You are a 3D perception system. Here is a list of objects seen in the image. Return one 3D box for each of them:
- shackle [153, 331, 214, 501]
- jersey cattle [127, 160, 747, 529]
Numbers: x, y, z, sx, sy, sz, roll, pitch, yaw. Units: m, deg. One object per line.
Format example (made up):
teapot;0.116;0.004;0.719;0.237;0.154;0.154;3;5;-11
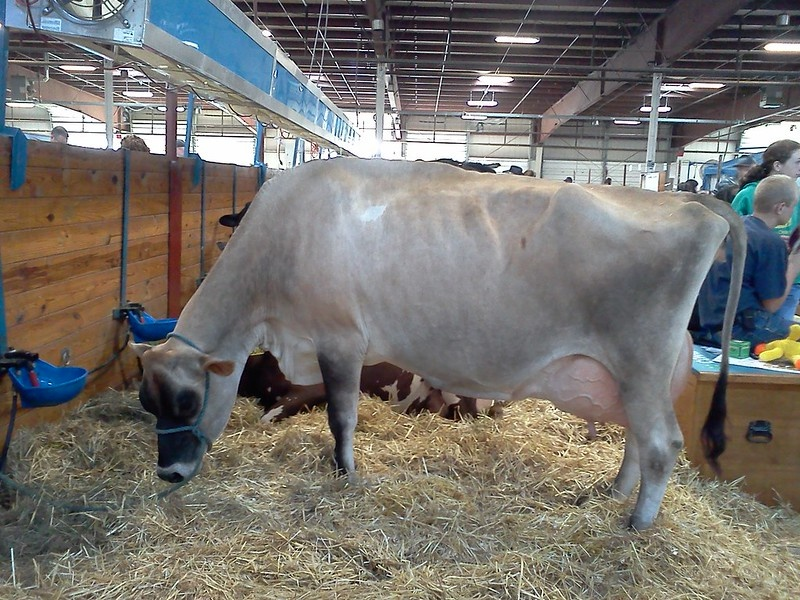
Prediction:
shackle;-1.034;0.575;2.516;0.250;0.815;0.199;12;15;28
jersey cattle;0.208;0.156;2.588;2.550;1.608;0.647;4;13;1
